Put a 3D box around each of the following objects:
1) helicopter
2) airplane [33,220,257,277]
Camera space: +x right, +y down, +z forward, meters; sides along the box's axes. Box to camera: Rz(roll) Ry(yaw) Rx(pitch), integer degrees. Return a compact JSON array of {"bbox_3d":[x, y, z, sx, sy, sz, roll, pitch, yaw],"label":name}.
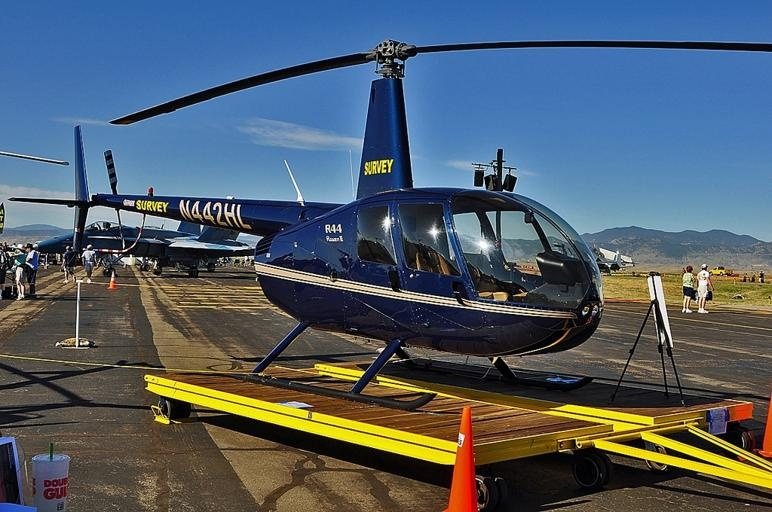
[{"bbox_3d":[-0.776,0.009,9.460,8.451,2.377,7.907,2,3,39],"label":"helicopter"},{"bbox_3d":[-19.823,-0.870,47.907,17.125,3.321,13.143,3,4,-14],"label":"airplane"}]
